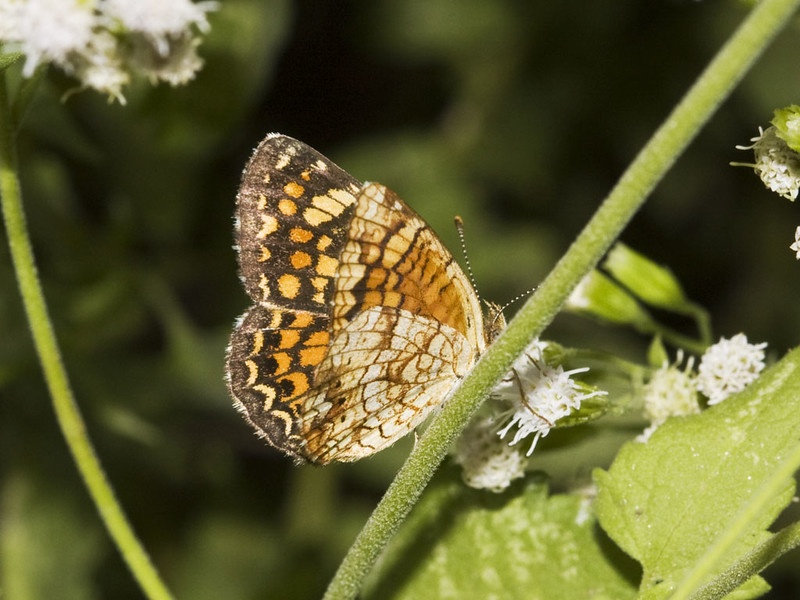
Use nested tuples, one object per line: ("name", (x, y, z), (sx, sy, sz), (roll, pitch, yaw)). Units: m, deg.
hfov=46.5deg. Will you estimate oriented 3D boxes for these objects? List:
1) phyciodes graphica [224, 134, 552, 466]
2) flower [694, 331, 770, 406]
("phyciodes graphica", (-0.061, 0.017, 1.250), (0.376, 0.279, 0.414), (-20, 9, -11))
("flower", (0.388, 0.080, 1.092), (0.069, 0.088, 0.099), (3, 7, 24))
